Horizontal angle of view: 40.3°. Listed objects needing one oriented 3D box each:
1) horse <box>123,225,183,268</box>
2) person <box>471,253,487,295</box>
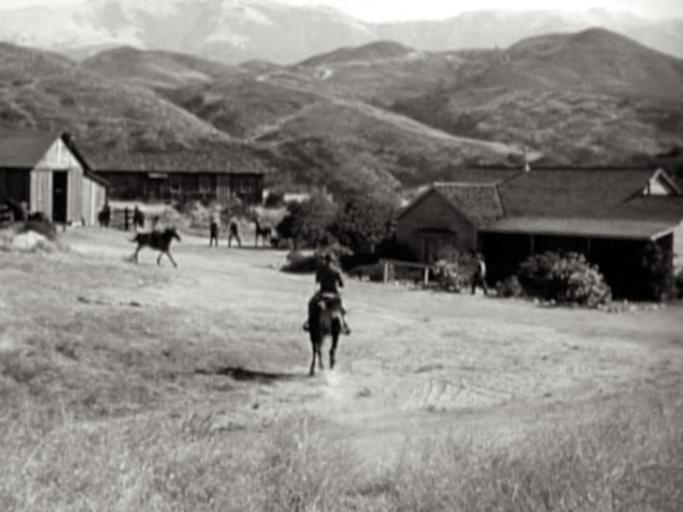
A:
[{"bbox_3d":[-3.389,-0.081,16.833,0.885,0.764,0.956,-1,-8,-8],"label":"horse"},{"bbox_3d":[2.567,0.338,17.436,0.305,0.780,0.998,-3,-8,9],"label":"person"}]
